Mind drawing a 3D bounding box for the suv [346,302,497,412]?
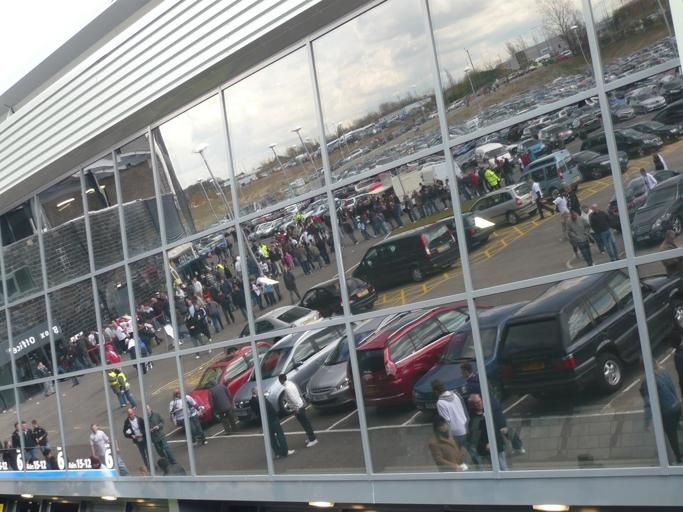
[{"bbox_3d":[1.260,1.462,13.584,2.060,0.896,1.113,-42,7,-20],"label":"suv"}]

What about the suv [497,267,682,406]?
[{"bbox_3d":[3.524,0.916,12.489,2.317,1.034,1.282,-40,13,-24],"label":"suv"}]

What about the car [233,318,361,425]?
[{"bbox_3d":[-0.846,1.730,14.979,2.318,0.997,1.268,-26,9,21],"label":"car"}]

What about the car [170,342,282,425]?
[{"bbox_3d":[-1.946,1.996,15.441,1.915,0.698,0.908,-36,24,3],"label":"car"}]

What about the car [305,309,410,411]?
[{"bbox_3d":[0.351,1.563,14.199,2.033,0.745,0.936,-32,15,-18],"label":"car"}]
